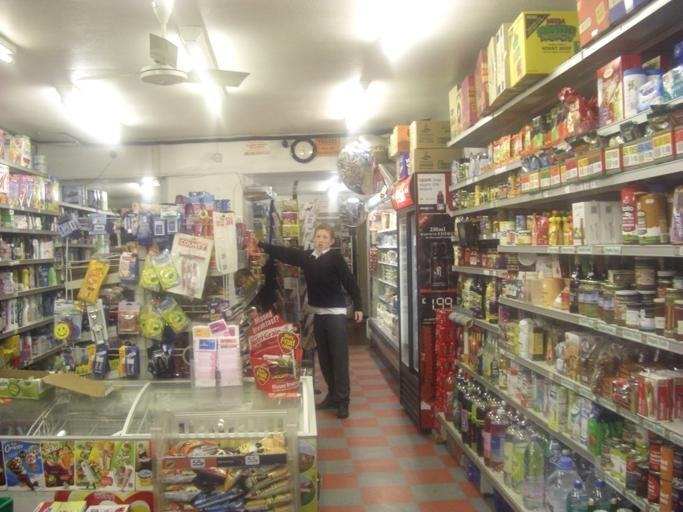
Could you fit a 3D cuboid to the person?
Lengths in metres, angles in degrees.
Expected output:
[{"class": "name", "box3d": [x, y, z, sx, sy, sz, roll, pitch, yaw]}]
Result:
[{"class": "person", "box3d": [-0.245, 0.737, 5.948, 0.921, 2.109, 0.791, -4, 10, -17]}]

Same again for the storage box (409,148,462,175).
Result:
[{"class": "storage box", "box3d": [0.915, -0.962, 5.358, 0.276, 0.199, 0.409, 0, 3, 3]}]

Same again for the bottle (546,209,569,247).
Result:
[{"class": "bottle", "box3d": [1.430, -0.169, 3.544, 0.100, 0.295, 0.212, -2, 8, -12]}]

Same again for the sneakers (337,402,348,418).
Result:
[{"class": "sneakers", "box3d": [0.008, 1.708, 5.852, 0.115, 0.126, 0.309, -1, -5, 1]}]
